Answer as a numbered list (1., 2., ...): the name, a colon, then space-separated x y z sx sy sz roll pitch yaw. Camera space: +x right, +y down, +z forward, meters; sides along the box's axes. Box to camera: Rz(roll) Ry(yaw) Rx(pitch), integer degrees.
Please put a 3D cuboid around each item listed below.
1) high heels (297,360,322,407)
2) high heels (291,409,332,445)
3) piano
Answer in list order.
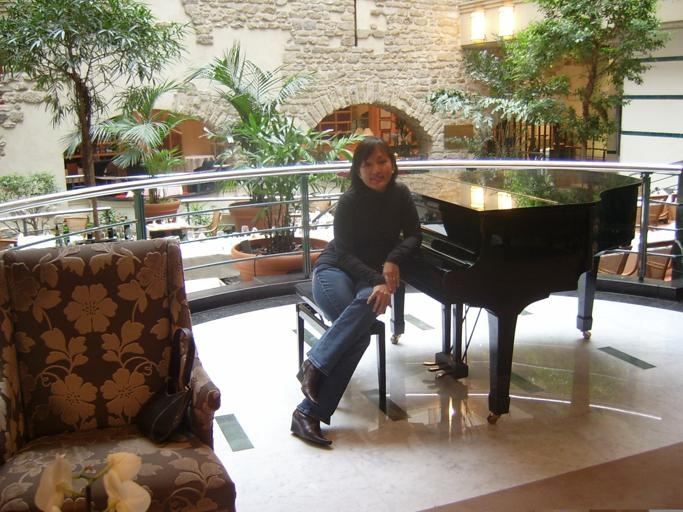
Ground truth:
1. high heels: -0.159 0.569 2.347 0.084 0.199 0.164 -8 12 -27
2. high heels: -0.148 0.793 2.368 0.246 0.115 0.083 13 1 40
3. piano: 0.954 0.013 2.841 1.354 1.020 1.294 -8 15 -21
